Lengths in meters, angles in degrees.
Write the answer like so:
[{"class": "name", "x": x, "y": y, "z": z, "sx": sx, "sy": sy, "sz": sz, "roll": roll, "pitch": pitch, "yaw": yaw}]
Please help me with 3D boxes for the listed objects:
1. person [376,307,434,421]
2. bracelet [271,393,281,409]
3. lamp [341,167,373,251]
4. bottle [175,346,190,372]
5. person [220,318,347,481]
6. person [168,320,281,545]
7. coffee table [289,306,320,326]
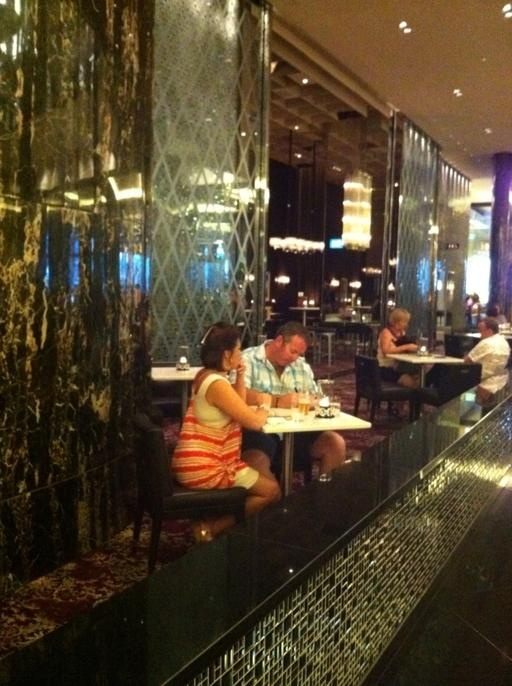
[{"class": "person", "x": 1.739, "y": 0.090, "z": 6.583, "sx": 0.715, "sy": 1.862, "sz": 0.716, "roll": -2, "pitch": 5, "yaw": 13}, {"class": "bracelet", "x": 0.116, "y": 0.333, "z": 3.041, "sx": 0.025, "sy": 0.071, "sz": 0.041, "roll": 4, "pitch": 3, "yaw": -35}, {"class": "lamp", "x": 2.437, "y": -3.152, "z": 12.673, "sx": 0.756, "sy": 1.210, "sz": 0.609, "roll": 0, "pitch": 2, "yaw": -44}, {"class": "bottle", "x": -0.597, "y": 0.133, "z": 4.351, "sx": 0.127, "sy": 0.269, "sz": 0.151, "roll": -1, "pitch": -1, "yaw": 24}, {"class": "person", "x": 0.153, "y": 0.489, "z": 3.214, "sx": 0.517, "sy": 1.292, "sz": 0.632, "roll": -2, "pitch": -3, "yaw": -27}, {"class": "person", "x": -0.141, "y": 0.466, "z": 2.575, "sx": 0.401, "sy": 1.082, "sz": 0.377, "roll": 3, "pitch": 3, "yaw": -9}, {"class": "coffee table", "x": 1.452, "y": -0.775, "z": 15.021, "sx": 0.756, "sy": 0.769, "sz": 0.860, "roll": 0, "pitch": -1, "yaw": -7}]
